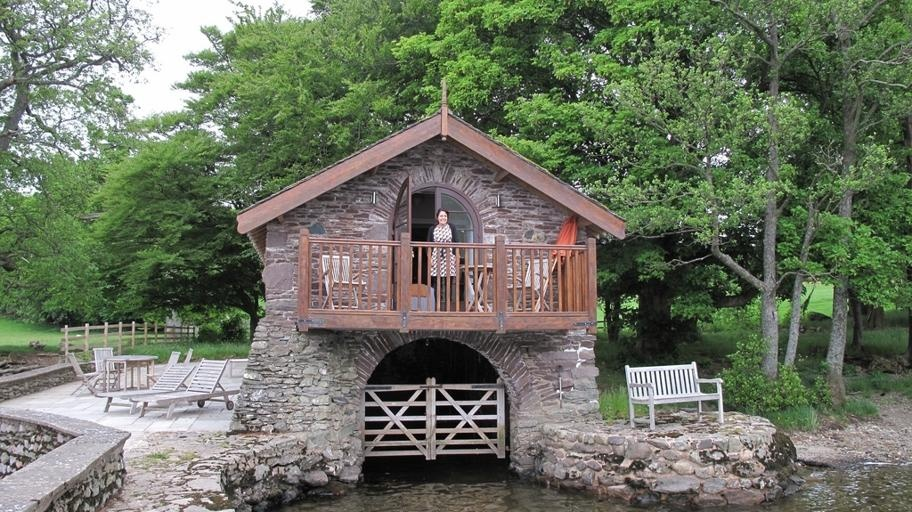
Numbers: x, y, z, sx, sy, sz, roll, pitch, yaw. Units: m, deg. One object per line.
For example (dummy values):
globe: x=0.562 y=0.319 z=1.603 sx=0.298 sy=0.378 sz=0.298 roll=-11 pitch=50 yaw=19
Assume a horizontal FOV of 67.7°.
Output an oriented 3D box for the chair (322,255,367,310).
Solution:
chair: x=-4.123 y=0.874 z=24.551 sx=1.409 sy=2.048 sz=2.046 roll=1 pitch=-8 yaw=-11

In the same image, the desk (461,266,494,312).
desk: x=0.584 y=1.183 z=24.711 sx=1.591 sy=1.517 sz=1.543 roll=0 pitch=-2 yaw=28

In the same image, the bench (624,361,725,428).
bench: x=7.786 y=4.897 z=24.358 sx=3.417 sy=1.840 sz=1.453 roll=1 pitch=2 yaw=-27

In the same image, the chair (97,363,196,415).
chair: x=-11.795 y=5.246 z=27.220 sx=1.992 sy=1.499 sz=3.370 roll=-3 pitch=-8 yaw=25
